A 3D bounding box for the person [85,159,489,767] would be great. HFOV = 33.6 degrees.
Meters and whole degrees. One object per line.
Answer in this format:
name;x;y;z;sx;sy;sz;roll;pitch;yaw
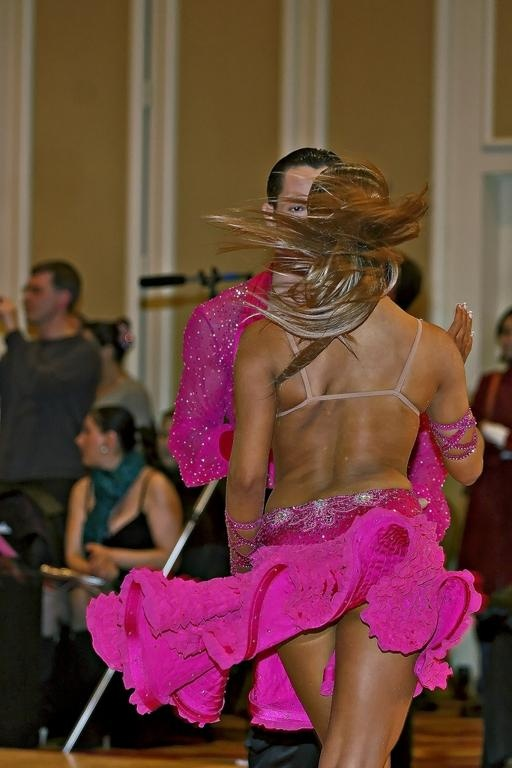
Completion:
person;0.076;0.214;1.488;0.621;1.172;0.662;4;7;11
